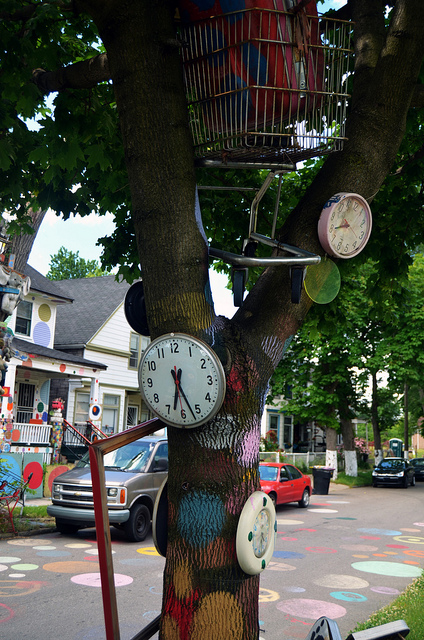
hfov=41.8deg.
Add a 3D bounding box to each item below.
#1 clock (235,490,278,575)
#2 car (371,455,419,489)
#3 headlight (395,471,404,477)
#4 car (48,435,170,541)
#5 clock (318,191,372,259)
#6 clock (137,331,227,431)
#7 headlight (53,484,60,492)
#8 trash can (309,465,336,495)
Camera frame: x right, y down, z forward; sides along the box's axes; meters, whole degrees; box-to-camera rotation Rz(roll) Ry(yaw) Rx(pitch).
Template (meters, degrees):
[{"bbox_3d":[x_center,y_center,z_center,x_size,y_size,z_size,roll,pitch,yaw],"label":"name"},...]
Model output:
[{"bbox_3d":[0.180,0.895,2.301,0.081,0.326,0.319,-1,18,21],"label":"clock"},{"bbox_3d":[9.760,8.444,29.918,1.594,1.543,3.537,-4,-11,32],"label":"car"},{"bbox_3d":[9.747,8.133,28.849,0.622,0.270,0.230,9,-11,-35],"label":"headlight"},{"bbox_3d":[-1.643,3.447,11.705,1.793,1.836,3.619,-4,-13,21],"label":"car"},{"bbox_3d":[0.618,-0.459,2.636,0.344,0.379,0.084,-4,4,-38],"label":"clock"},{"bbox_3d":[-0.141,0.267,2.299,0.390,0.402,0.042,4,-19,-30],"label":"clock"},{"bbox_3d":[-2.918,3.210,10.444,0.196,0.142,0.036,-6,-12,40],"label":"headlight"},{"bbox_3d":[4.680,7.004,23.844,0.786,1.132,0.763,0,-9,10],"label":"trash can"}]
